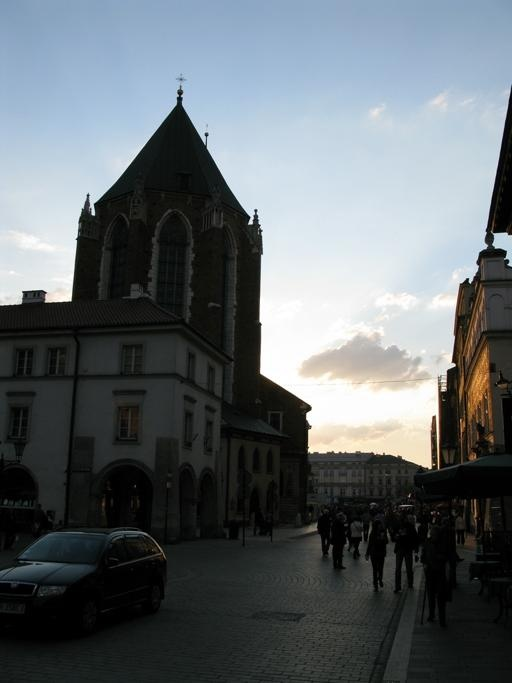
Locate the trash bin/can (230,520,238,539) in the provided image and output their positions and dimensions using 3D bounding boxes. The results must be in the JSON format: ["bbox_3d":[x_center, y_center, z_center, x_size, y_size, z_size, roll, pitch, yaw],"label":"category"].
[{"bbox_3d":[-1.225,10.311,34.558,0.430,1.007,1.009,2,-11,-5],"label":"trash bin/can"}]
